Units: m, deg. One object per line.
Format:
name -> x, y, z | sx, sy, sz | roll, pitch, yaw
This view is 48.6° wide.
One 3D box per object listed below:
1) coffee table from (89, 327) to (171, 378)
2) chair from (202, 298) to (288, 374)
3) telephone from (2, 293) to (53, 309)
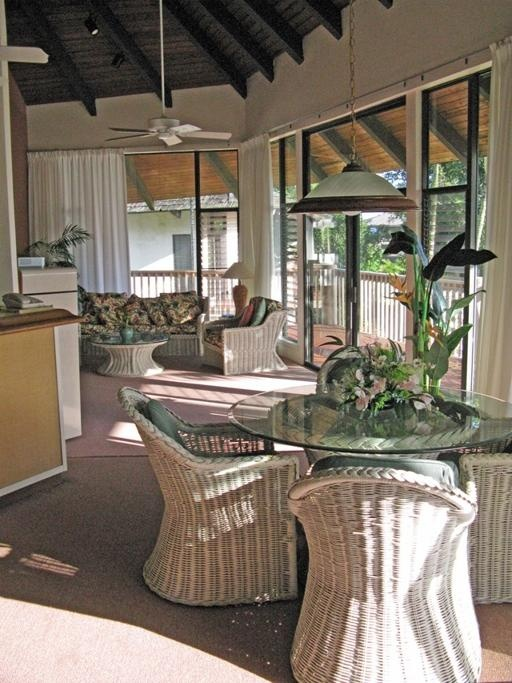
coffee table -> -1.508, 0.161, 6.784 | 0.783, 0.435, 0.747 | 0, 4, 3
chair -> -0.209, -0.088, 6.915 | 0.962, 0.764, 0.871 | 0, 6, -16
telephone -> -1.340, -0.234, 3.340 | 0.263, 0.103, 0.198 | -6, 9, -21
